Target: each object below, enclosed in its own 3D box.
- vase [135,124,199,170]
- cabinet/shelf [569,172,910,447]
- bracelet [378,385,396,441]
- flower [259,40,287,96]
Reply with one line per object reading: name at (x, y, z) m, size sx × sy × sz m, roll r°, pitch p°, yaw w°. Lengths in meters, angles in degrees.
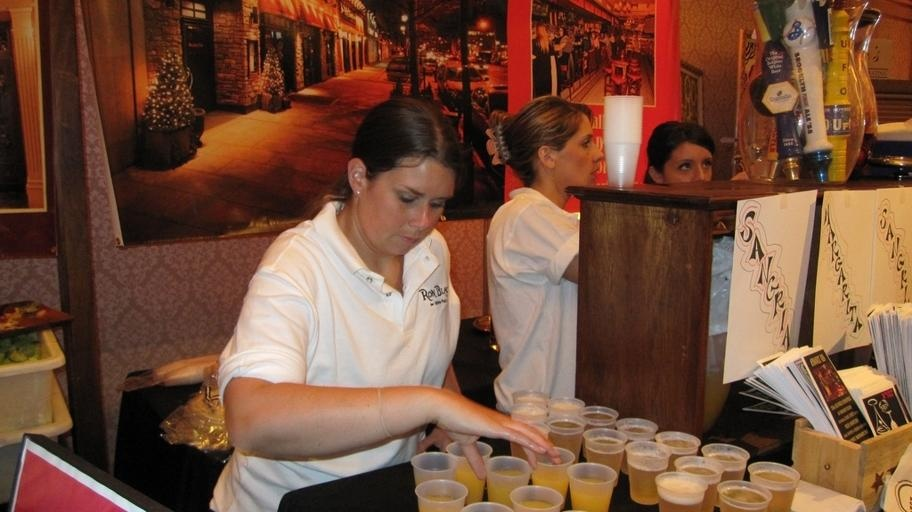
vase at (-1.680, -0.619, 3.617) m, size 0.292 × 0.178 × 0.271 m, roll -1°, pitch 4°, yaw -15°
cabinet/shelf at (1.081, 0.230, 2.403) m, size 1.177 × 0.879 × 0.467 m, roll -4°, pitch 7°, yaw -26°
bracelet at (-0.239, 0.529, 2.109) m, size 0.040 × 0.154 × 0.055 m, roll -4°, pitch 11°, yaw -9°
flower at (-1.138, -1.156, 3.856) m, size 0.162 × 0.322 × 0.038 m, roll -8°, pitch 13°, yaw -31°
